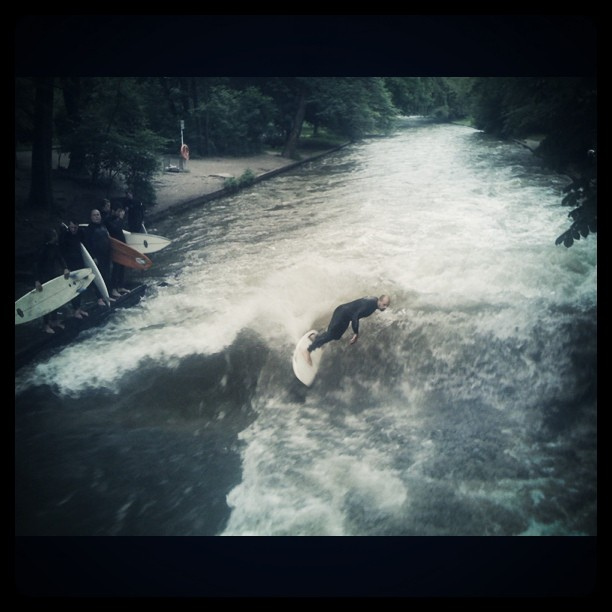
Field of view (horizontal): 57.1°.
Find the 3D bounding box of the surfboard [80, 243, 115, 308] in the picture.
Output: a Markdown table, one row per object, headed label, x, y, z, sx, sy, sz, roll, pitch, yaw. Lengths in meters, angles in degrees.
| label | x | y | z | sx | sy | sz | roll | pitch | yaw |
| --- | --- | --- | --- | --- | --- | --- | --- | --- | --- |
| surfboard | -1.625 | -0.231 | 4.455 | 0.114 | 0.642 | 0.071 | -31 | 12 | -22 |
